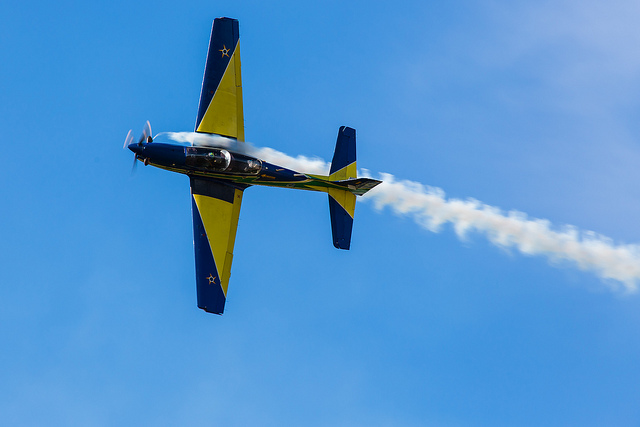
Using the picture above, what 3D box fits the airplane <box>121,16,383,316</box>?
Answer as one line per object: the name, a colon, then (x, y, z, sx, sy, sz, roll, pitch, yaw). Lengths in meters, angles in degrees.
airplane: (-2.883, -1.975, 40.446, 9.732, 11.662, 3.109, 9, -59, -9)
